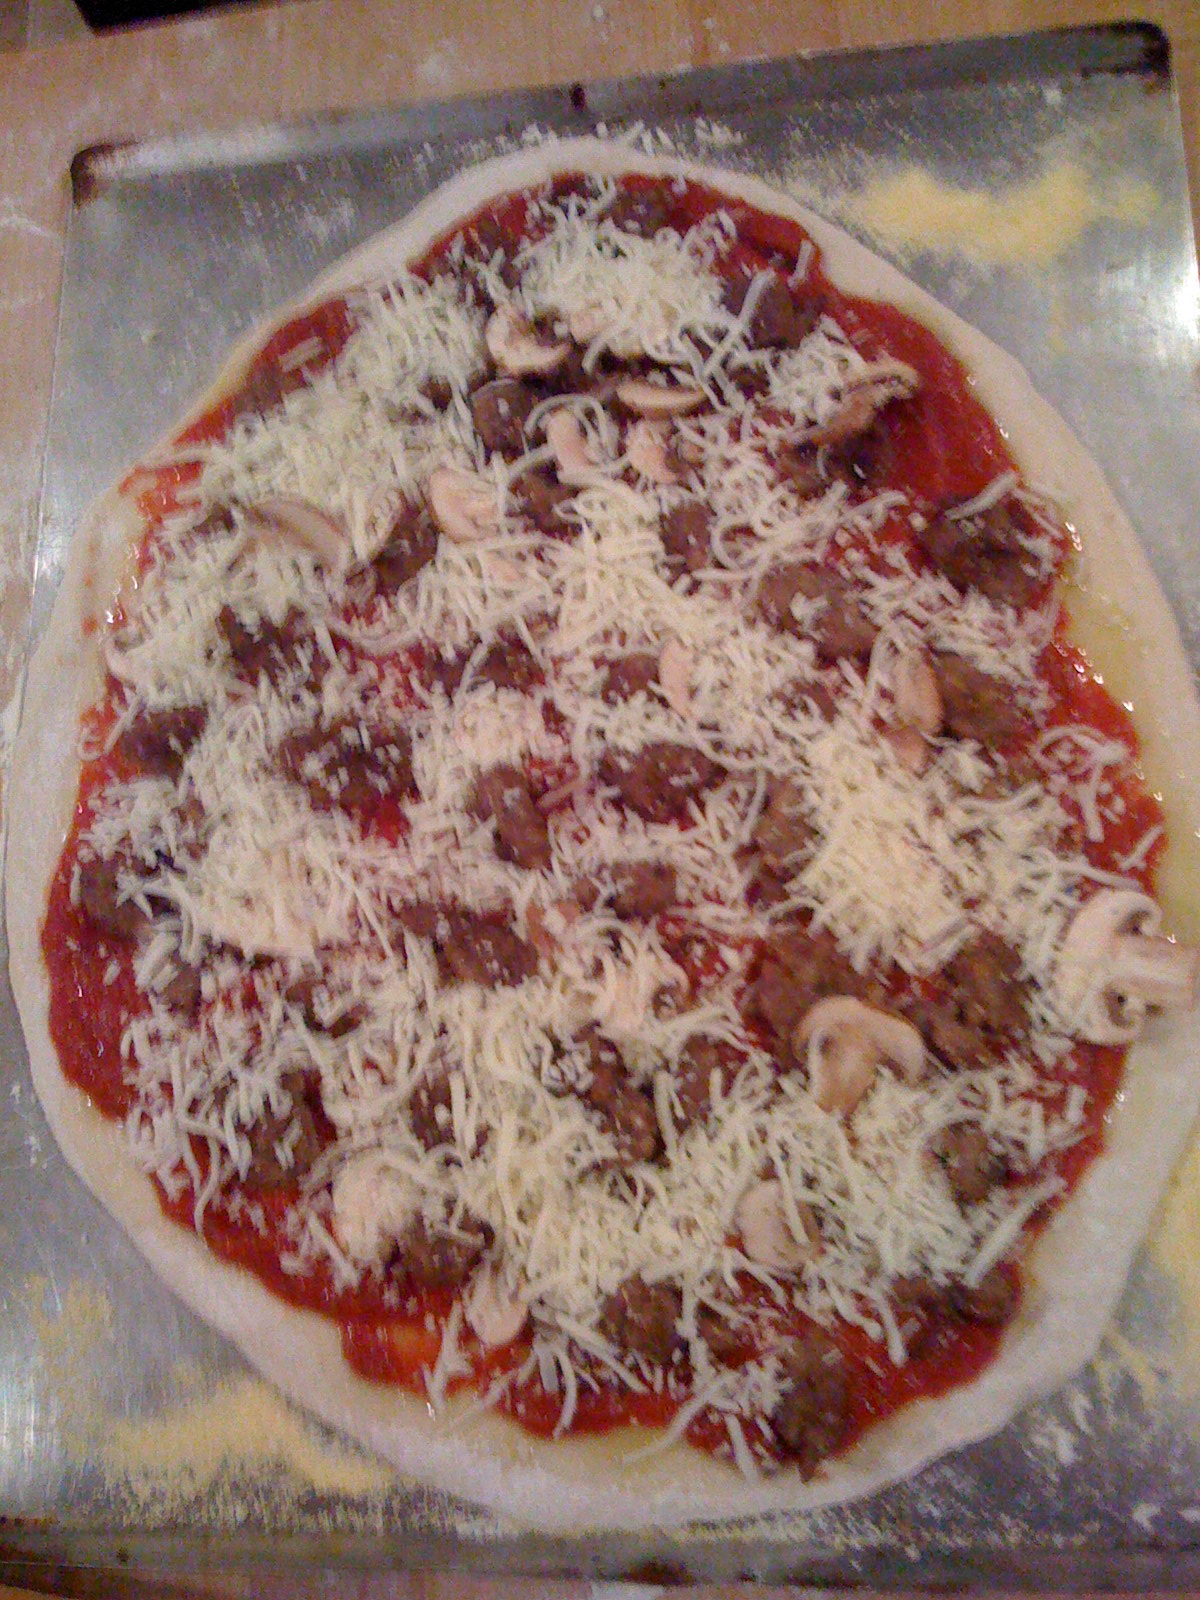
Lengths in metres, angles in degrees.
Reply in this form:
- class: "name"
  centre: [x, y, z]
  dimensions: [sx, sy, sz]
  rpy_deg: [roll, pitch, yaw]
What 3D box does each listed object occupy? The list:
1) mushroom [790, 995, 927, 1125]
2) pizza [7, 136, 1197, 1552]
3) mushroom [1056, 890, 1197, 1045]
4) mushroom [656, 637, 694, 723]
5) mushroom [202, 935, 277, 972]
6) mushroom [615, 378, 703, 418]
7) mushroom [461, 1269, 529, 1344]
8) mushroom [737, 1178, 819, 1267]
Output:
- class: "mushroom"
  centre: [0.294, 0.279, 1.845]
  dimensions: [0.150, 0.034, 0.142]
  rpy_deg: [-22, 85, -1]
- class: "pizza"
  centre: [-0.015, 0.028, 1.945]
  dimensions: [1.429, 0.219, 1.677]
  rpy_deg: [-10, 85, 0]
- class: "mushroom"
  centre: [0.604, 0.189, 1.864]
  dimensions: [0.160, 0.076, 0.174]
  rpy_deg: [1, 85, 1]
- class: "mushroom"
  centre: [0.088, -0.143, 1.889]
  dimensions: [0.040, 0.016, 0.088]
  rpy_deg: [-3, 84, 26]
- class: "mushroom"
  centre: [-0.429, 0.180, 1.932]
  dimensions: [0.051, 0.047, 0.023]
  rpy_deg: [13, 95, 1]
- class: "mushroom"
  centre: [0.068, -0.492, 1.985]
  dimensions: [0.074, 0.023, 0.061]
  rpy_deg: [5, 78, 2]
- class: "mushroom"
  centre: [-0.119, 0.576, 1.851]
  dimensions: [0.078, 0.046, 0.081]
  rpy_deg: [-4, 85, 1]
- class: "mushroom"
  centre: [0.198, 0.474, 1.813]
  dimensions: [0.086, 0.032, 0.104]
  rpy_deg: [-28, 85, -1]
